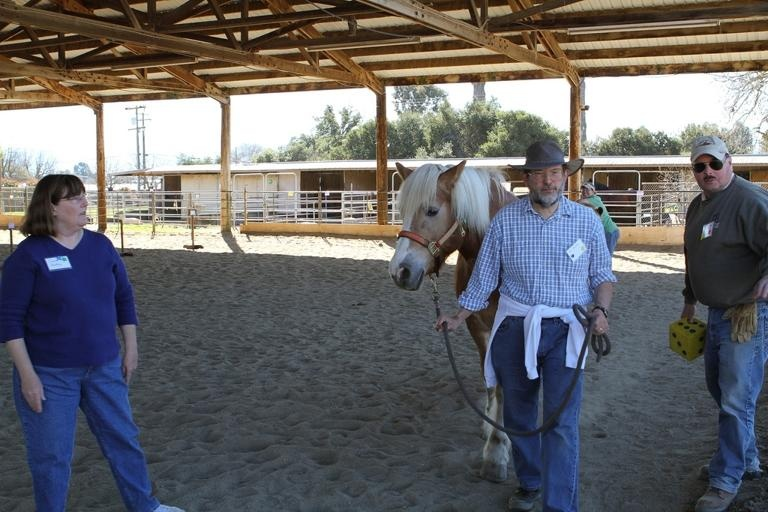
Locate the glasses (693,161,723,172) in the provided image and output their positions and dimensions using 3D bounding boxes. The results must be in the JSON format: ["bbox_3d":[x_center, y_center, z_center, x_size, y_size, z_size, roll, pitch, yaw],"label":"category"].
[{"bbox_3d":[2.039,-0.565,3.812,0.089,0.031,0.090,-6,-22,34],"label":"glasses"}]

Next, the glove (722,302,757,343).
[{"bbox_3d":[2.182,0.422,3.696,0.186,0.223,0.095,-3,-8,45],"label":"glove"}]

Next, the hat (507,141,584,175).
[{"bbox_3d":[0.966,-0.554,3.575,0.263,0.120,0.298,-1,-5,15],"label":"hat"}]

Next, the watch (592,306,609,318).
[{"bbox_3d":[1.218,0.329,3.443,0.077,0.027,0.079,36,18,21],"label":"watch"}]
